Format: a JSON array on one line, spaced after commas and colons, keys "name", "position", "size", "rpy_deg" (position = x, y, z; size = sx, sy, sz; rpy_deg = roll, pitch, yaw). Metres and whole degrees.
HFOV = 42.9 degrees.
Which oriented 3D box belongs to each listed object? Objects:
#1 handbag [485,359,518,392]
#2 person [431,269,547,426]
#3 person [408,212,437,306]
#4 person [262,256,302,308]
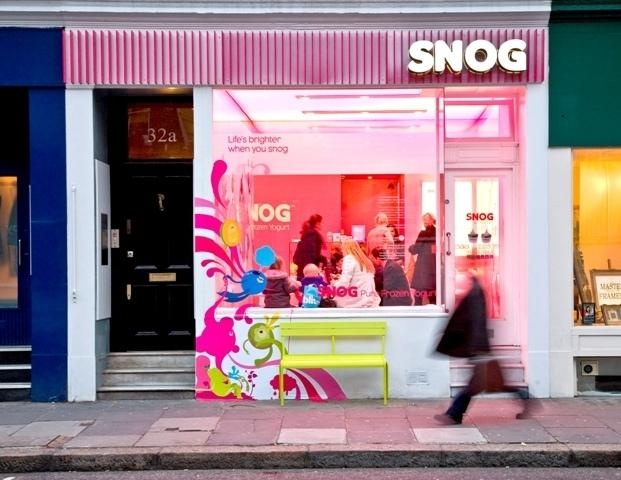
[{"name": "handbag", "position": [2.545, 1.827, 10.699], "size": [0.447, 0.565, 0.372], "rpy_deg": [0, 1, 3]}, {"name": "person", "position": [2.396, 1.456, 10.786], "size": [0.881, 1.994, 1.319], "rpy_deg": [-2, -2, 44]}, {"name": "person", "position": [1.718, 0.289, 12.024], "size": [0.366, 1.346, 0.103], "rpy_deg": [-1, -2, -4]}, {"name": "person", "position": [-0.485, 0.661, 12.171], "size": [0.576, 0.801, 0.527], "rpy_deg": [7, 18, 31]}]
